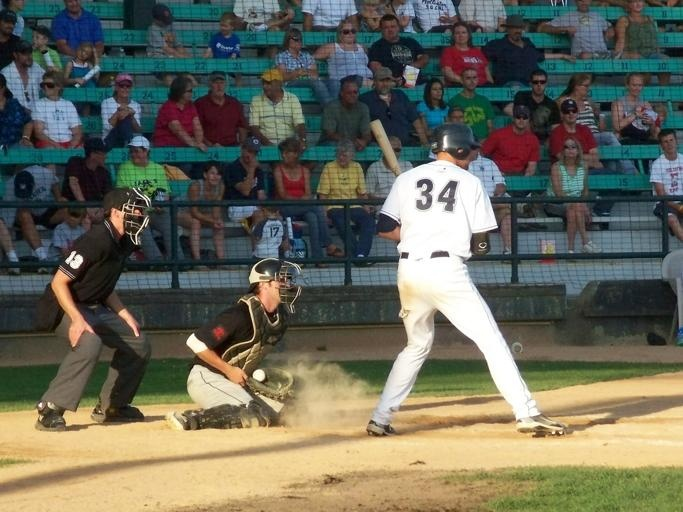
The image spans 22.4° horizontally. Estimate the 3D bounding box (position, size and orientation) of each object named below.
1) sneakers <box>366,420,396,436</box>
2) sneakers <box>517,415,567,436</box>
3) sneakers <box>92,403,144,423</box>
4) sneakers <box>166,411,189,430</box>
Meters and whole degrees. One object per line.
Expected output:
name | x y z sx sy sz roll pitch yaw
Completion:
sneakers | 0.403 1.917 18.705 0.338 0.160 0.132 5 15 -22
sneakers | 2.113 1.846 18.361 0.425 0.187 0.242 -2 4 0
sneakers | -2.515 1.755 19.222 0.535 0.221 0.233 -3 6 -13
sneakers | -1.821 1.830 18.883 0.161 0.179 0.316 -7 15 -25
